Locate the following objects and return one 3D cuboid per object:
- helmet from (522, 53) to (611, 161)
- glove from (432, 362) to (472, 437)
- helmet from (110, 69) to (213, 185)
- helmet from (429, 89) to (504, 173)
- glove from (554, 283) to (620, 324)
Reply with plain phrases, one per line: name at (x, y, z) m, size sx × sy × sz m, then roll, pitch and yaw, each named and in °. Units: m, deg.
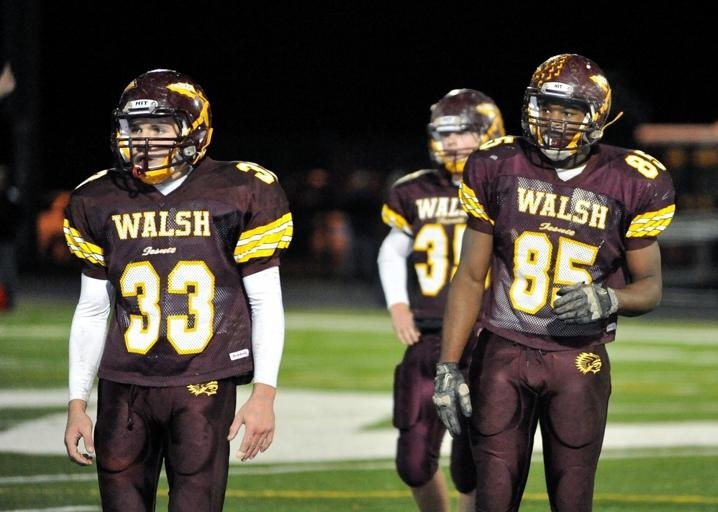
helmet at (1.085, -0.801, 6.162) m, size 0.455 × 0.448 × 0.597 m, roll 10°, pitch 22°, yaw 28°
glove at (0.403, 0.759, 5.995) m, size 0.270 × 0.117 × 0.497 m, roll -2°, pitch 39°, yaw -5°
helmet at (-1.003, -0.689, 6.018) m, size 0.514 × 0.481 × 0.671 m, roll 4°, pitch 18°, yaw 20°
helmet at (0.602, -0.714, 7.398) m, size 0.474 × 0.428 × 0.532 m, roll -14°, pitch -14°, yaw 0°
glove at (1.109, 0.236, 5.798) m, size 0.317 × 0.204 × 0.159 m, roll 2°, pitch 7°, yaw 6°
